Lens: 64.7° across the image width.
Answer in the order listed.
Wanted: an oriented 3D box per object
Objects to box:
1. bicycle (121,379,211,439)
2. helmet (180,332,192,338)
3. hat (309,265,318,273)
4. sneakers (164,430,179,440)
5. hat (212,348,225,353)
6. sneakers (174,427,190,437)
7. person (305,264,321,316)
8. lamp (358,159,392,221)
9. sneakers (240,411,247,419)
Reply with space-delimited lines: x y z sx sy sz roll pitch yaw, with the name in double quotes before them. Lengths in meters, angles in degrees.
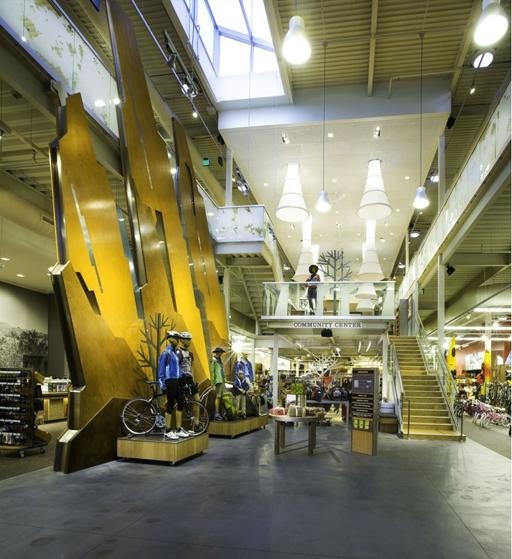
"bicycle" -1.611 2.213 6.935 1.732 1.341 0.727 -1 -9 -4
"helmet" -1.115 0.905 6.402 0.074 0.091 0.325 -2 -14 16
"hat" 2.013 -0.381 14.214 0.250 0.347 0.449 -1 -13 8
"sneakers" -1.276 2.313 6.018 0.213 0.113 0.092 -1 -2 31
"hat" -0.806 1.548 8.747 0.151 0.063 0.159 -5 -10 40
"sneakers" -1.188 2.397 6.314 0.261 0.141 0.101 -2 -9 31
"person" 2.021 0.379 14.456 0.477 1.789 1.156 0 -12 8
"lamp" 3.120 -2.339 10.616 0.719 0.871 1.804 17 -37 31
"sneakers" -0.326 3.348 9.884 0.119 0.189 0.165 6 6 22
